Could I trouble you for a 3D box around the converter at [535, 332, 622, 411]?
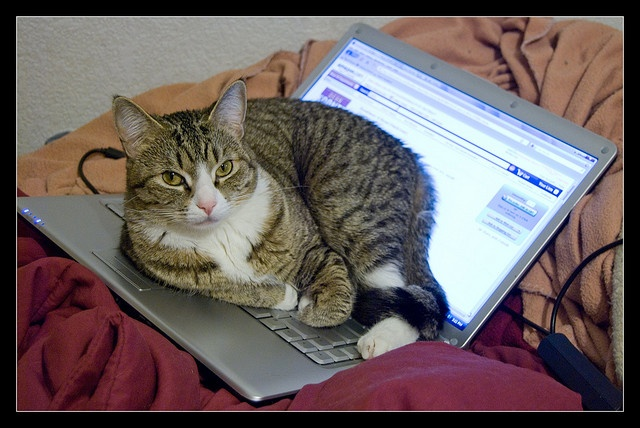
[{"bbox_3d":[0.517,0.310,1.036,0.140,0.180,0.098,-5,-74,19],"label":"converter"}]
